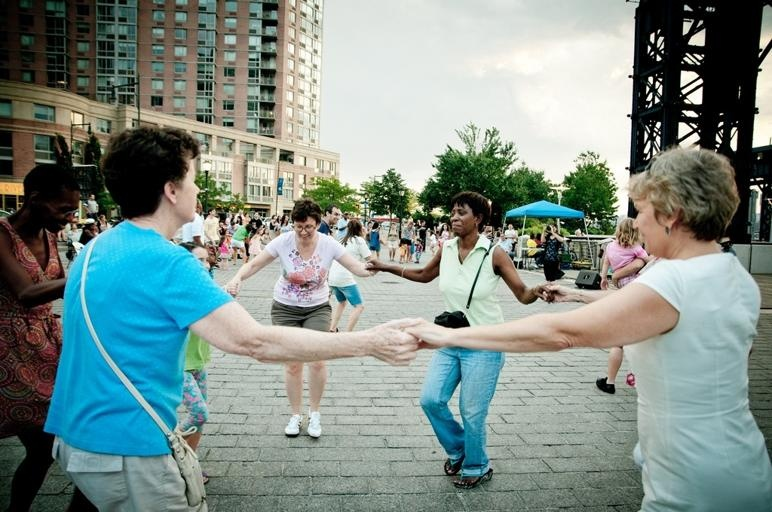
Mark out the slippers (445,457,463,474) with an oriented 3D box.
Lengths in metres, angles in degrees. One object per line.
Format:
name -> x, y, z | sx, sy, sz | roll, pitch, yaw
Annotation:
slippers -> 0.568, 1.793, 5.002 | 0.084, 0.079, 0.195 | -4, -13, 21

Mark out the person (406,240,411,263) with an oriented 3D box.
person -> 1.007, -0.211, 25.416 | 0.192, 0.767, 0.242 | -6, -10, 41

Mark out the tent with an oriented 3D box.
tent -> 6.016, -1.326, 22.953 | 3.271, 1.727, 3.352 | 3, 5, 15

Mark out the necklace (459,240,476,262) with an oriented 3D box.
necklace -> 0.707, -0.042, 5.172 | 0.152, 0.142, 0.194 | -9, -26, 15

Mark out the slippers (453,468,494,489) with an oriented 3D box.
slippers -> 0.718, 1.843, 4.905 | 0.340, 0.126, 0.115 | 5, -8, -24

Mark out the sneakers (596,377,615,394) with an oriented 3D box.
sneakers -> 2.546, 1.498, 6.840 | 0.104, 0.104, 0.250 | 1, 4, -4

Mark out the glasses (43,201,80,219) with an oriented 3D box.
glasses -> -2.326, -0.325, 4.281 | 0.149, 0.045, 0.145 | 32, 9, 18
